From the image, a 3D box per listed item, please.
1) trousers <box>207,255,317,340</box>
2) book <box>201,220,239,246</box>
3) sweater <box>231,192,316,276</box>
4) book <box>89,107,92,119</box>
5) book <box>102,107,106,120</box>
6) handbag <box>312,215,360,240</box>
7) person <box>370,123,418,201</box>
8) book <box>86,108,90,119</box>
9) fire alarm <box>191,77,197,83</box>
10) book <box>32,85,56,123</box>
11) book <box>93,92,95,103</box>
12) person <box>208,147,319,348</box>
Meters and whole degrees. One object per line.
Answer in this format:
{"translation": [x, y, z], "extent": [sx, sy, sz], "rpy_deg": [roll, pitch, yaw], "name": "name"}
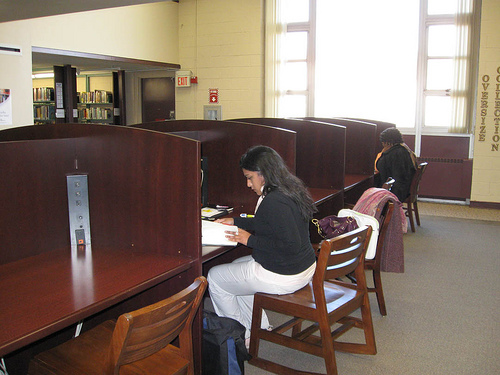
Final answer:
{"translation": [-0.049, 0.774, 2.531], "extent": [0.363, 0.468, 0.305], "rpy_deg": [9, -5, -31], "name": "trousers"}
{"translation": [-0.204, 0.280, 2.338], "extent": [0.138, 0.040, 0.149], "rpy_deg": [10, 29, -6], "name": "book"}
{"translation": [0.170, 0.230, 2.444], "extent": [0.457, 0.471, 0.585], "rpy_deg": [-1, 13, -17], "name": "sweater"}
{"translation": [-3.409, -1.577, 8.375], "extent": [0.086, 0.215, 0.036], "rpy_deg": [6, 12, 33], "name": "book"}
{"translation": [-3.102, -1.543, 8.277], "extent": [0.083, 0.223, 0.029], "rpy_deg": [5, 12, 25], "name": "book"}
{"translation": [0.616, 0.275, 2.789], "extent": [0.195, 0.088, 0.209], "rpy_deg": [0, 15, 7], "name": "handbag"}
{"translation": [1.860, -0.310, 5.098], "extent": [0.447, 0.900, 0.599], "rpy_deg": [-3, 16, 8], "name": "person"}
{"translation": [-3.456, -1.581, 8.397], "extent": [0.089, 0.216, 0.042], "rpy_deg": [6, 12, 31], "name": "book"}
{"translation": [-1.119, -2.153, 7.850], "extent": [0.110, 0.106, 0.064], "rpy_deg": [-3, 11, -11], "name": "fire alarm"}
{"translation": [-4.461, -1.793, 8.346], "extent": [0.328, 0.676, 0.646], "rpy_deg": [-1, 18, -25], "name": "book"}
{"translation": [-3.335, -1.907, 8.357], "extent": [0.039, 0.195, 0.053], "rpy_deg": [-2, 11, -7], "name": "book"}
{"translation": [0.076, 0.414, 2.525], "extent": [0.648, 1.323, 0.494], "rpy_deg": [6, 7, 23], "name": "person"}
